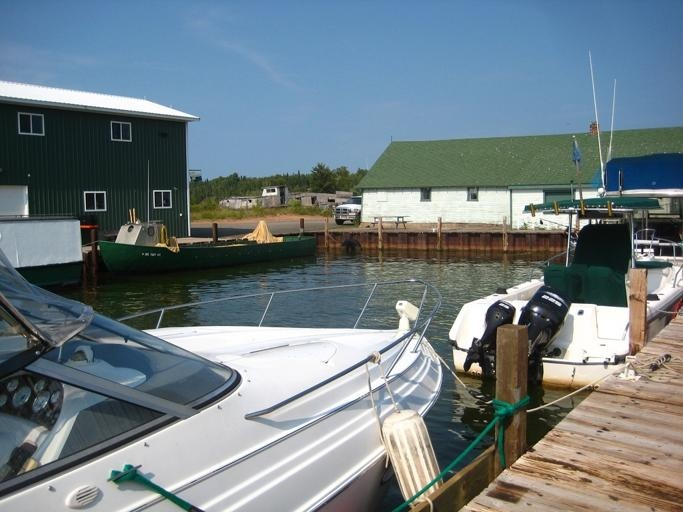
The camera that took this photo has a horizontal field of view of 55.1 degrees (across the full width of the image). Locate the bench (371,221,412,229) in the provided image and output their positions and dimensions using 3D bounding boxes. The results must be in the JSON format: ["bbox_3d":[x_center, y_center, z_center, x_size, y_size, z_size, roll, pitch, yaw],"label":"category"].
[{"bbox_3d":[2.837,-2.004,38.581,2.279,0.490,4.116,-2,7,1],"label":"bench"}]
